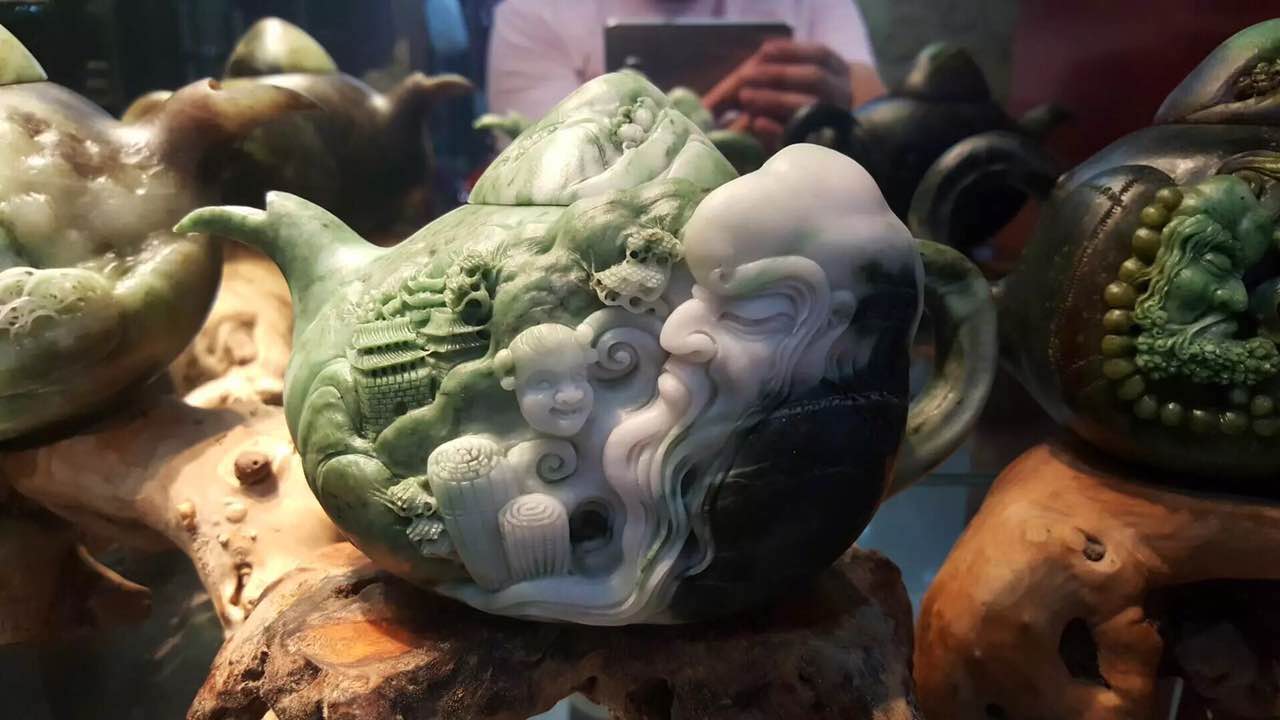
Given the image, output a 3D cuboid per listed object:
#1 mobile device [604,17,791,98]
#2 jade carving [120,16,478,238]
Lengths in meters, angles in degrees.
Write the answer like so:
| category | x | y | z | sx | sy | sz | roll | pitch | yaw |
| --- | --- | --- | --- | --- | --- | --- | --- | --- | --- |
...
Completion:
| category | x | y | z | sx | sy | sz | roll | pitch | yaw |
| --- | --- | --- | --- | --- | --- | --- | --- | --- | --- |
| mobile device | 0.143 | -0.733 | 3.568 | 0.290 | 0.177 | 0.031 | 1 | 15 | 9 |
| jade carving | -0.898 | -0.522 | 3.717 | 0.926 | 0.681 | 0.656 | 0 | 1 | 4 |
